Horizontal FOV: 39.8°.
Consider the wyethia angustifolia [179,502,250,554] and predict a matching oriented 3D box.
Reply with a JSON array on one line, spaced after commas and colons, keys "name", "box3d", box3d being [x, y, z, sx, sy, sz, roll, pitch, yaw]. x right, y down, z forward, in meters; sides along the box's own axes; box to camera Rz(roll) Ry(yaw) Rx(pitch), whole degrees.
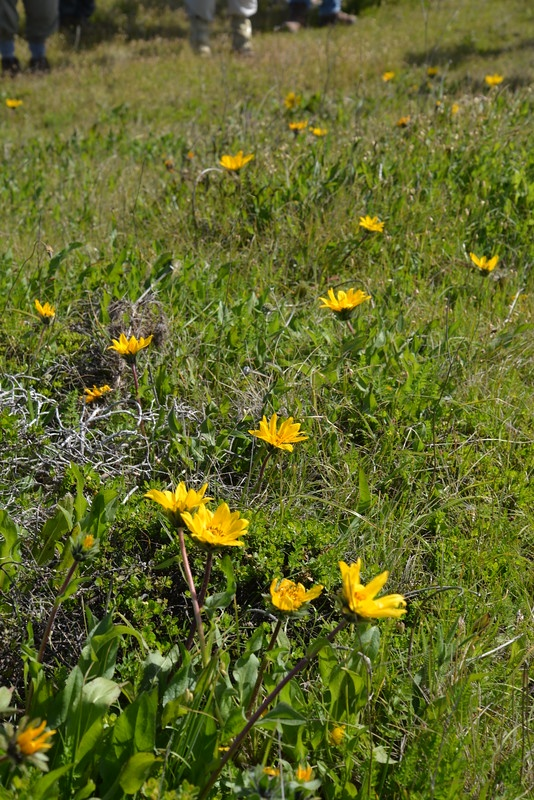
[{"name": "wyethia angustifolia", "box3d": [-0.073, 0.174, 1.027, 0.067, 0.036, 0.073, -2, 40, -9]}]

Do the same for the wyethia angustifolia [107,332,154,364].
[{"name": "wyethia angustifolia", "box3d": [-0.372, -0.135, 1.967, 0.089, 0.058, 0.092, -38, 50, -23]}]

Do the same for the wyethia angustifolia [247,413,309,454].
[{"name": "wyethia angustifolia", "box3d": [0.019, 0.044, 1.393, 0.091, 0.045, 0.092, 4, 61, -3]}]

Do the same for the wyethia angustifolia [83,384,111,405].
[{"name": "wyethia angustifolia", "box3d": [-0.468, -0.010, 2.033, 0.064, 0.038, 0.061, -14, -1, -33]}]

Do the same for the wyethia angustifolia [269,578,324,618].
[{"name": "wyethia angustifolia", "box3d": [0.032, 0.263, 0.997, 0.049, 0.032, 0.062, 3, -7, 15]}]

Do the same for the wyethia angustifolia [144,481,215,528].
[{"name": "wyethia angustifolia", "box3d": [-0.124, 0.159, 1.061, 0.079, 0.049, 0.078, -5, 20, -31]}]
